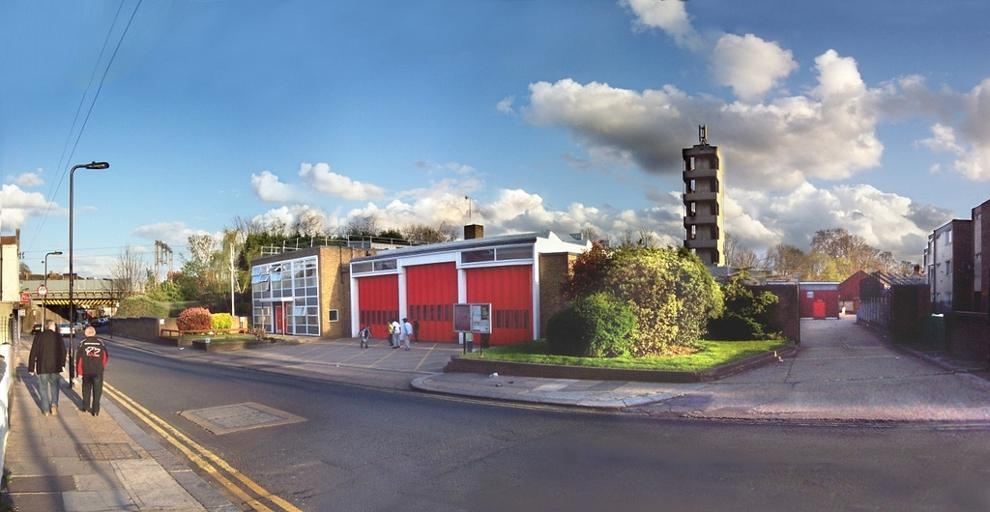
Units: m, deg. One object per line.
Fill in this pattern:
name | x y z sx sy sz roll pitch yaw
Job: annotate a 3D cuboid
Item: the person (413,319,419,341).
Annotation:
person | -5.983 5.707 57.160 0.497 1.619 1.509 -3 13 -7
